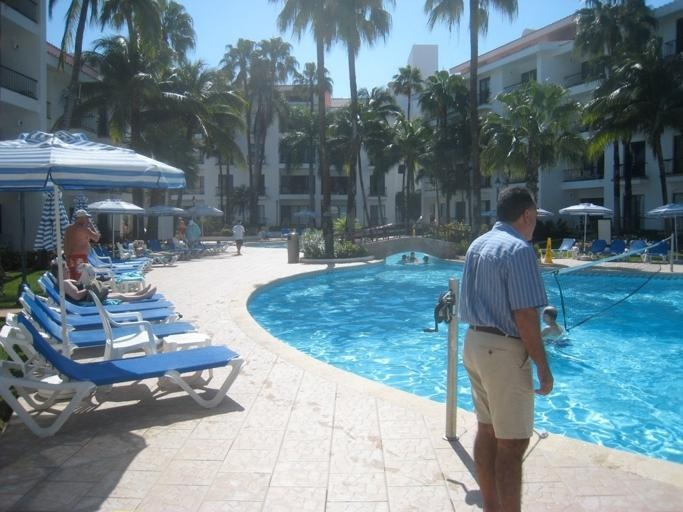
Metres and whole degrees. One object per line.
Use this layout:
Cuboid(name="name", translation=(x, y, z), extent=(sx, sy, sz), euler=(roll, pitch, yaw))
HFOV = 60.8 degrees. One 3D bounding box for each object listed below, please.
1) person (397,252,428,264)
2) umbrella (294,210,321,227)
Cuboid(name="person", translation=(3.240, 0.163, 26.928), extent=(0.909, 0.346, 0.850), euler=(2, -4, -10))
Cuboid(name="umbrella", translation=(-3.471, -3.897, 58.234), extent=(1.982, 1.613, 2.203), euler=(-1, 5, 8))
